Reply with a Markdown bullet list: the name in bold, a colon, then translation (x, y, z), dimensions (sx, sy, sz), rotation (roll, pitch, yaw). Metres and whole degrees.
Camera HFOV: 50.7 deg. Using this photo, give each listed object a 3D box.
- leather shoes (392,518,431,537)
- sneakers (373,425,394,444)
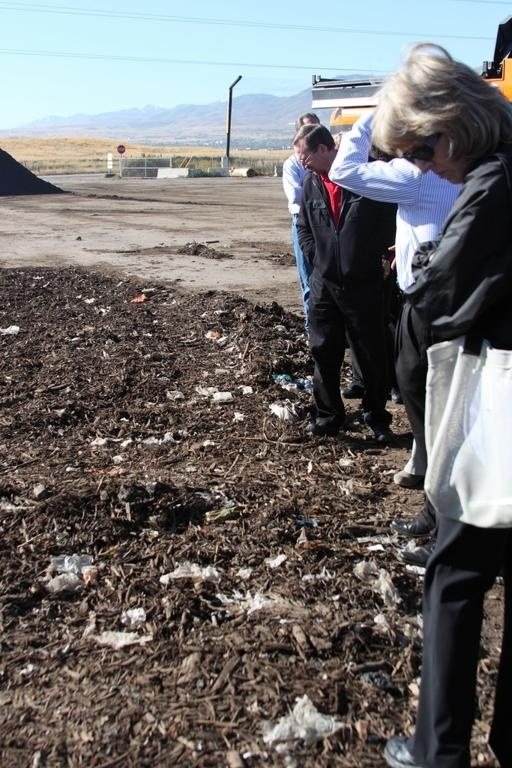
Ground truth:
- **leather shoes**: translation (0.776, 0.734, 2.736), dimensions (0.193, 0.087, 0.074), rotation (9, 13, 31)
- **sneakers**: translation (0.922, 0.370, 3.944), dimensions (0.089, 0.111, 0.166), rotation (-5, 8, -7)
